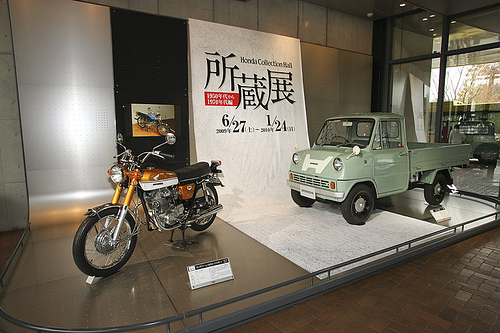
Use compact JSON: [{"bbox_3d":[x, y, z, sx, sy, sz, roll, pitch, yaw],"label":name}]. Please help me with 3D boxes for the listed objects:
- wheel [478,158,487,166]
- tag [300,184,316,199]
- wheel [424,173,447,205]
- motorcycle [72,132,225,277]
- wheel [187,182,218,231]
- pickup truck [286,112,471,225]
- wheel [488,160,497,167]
[{"bbox_3d":[5.590,-0.107,7.388,0.049,0.140,0.199,-9,25,-41],"label":"wheel"},{"bbox_3d":[1.091,0.456,5.783,0.037,0.184,0.275,-12,16,-25],"label":"tag"},{"bbox_3d":[3.881,0.444,6.437,0.553,0.640,0.195,-10,10,-28],"label":"wheel"},{"bbox_3d":[-1.368,0.400,4.806,1.091,1.907,2.804,5,13,34],"label":"motorcycle"},{"bbox_3d":[-0.827,0.651,5.467,0.541,0.854,0.454,-6,23,-23],"label":"wheel"},{"bbox_3d":[2.835,-0.140,6.489,4.131,1.979,1.324,-7,13,-24],"label":"pickup truck"},{"bbox_3d":[5.789,-0.078,7.319,0.182,0.166,0.060,-1,12,2],"label":"wheel"}]
